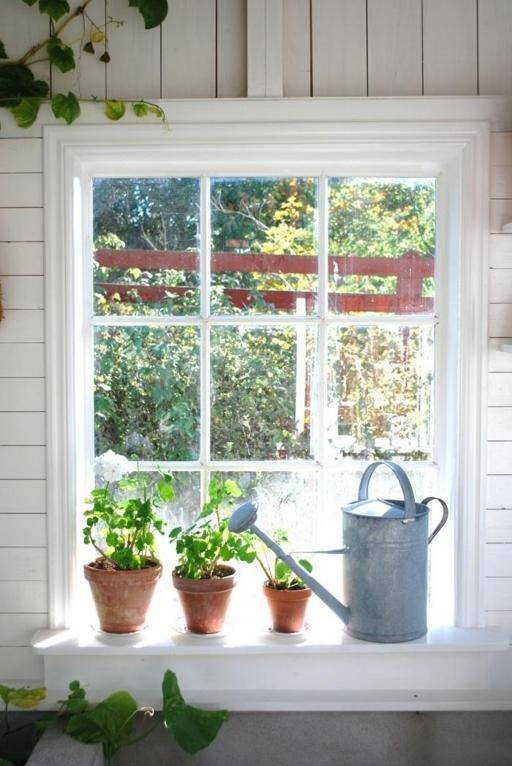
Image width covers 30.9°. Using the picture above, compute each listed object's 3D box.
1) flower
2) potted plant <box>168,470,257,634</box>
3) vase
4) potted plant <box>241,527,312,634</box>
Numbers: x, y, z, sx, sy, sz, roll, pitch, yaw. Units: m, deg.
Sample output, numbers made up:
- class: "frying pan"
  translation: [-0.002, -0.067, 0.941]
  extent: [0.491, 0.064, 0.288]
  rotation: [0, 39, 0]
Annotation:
- class: "flower"
  translation: [-0.330, 0.315, 2.308]
  extent: [0.207, 0.247, 0.164]
  rotation: [9, -5, 2]
- class: "potted plant"
  translation: [-0.107, 0.427, 2.301]
  extent: [0.247, 0.372, 0.170]
  rotation: [-1, -2, 4]
- class: "vase"
  translation: [-0.332, 0.534, 2.313]
  extent: [0.204, 0.152, 0.194]
  rotation: [-1, -5, 11]
- class: "potted plant"
  translation: [0.064, 0.505, 2.294]
  extent: [0.149, 0.201, 0.150]
  rotation: [1, 4, 44]
